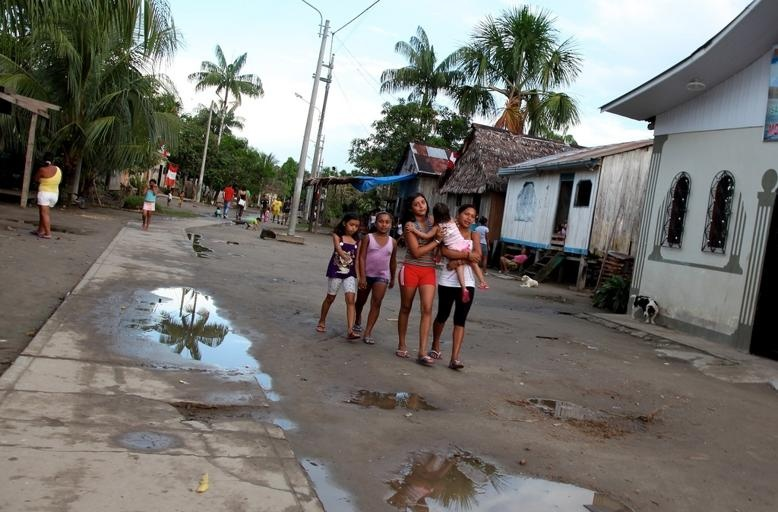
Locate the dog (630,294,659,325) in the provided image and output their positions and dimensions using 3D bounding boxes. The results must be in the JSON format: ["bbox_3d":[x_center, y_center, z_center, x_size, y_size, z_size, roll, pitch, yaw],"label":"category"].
[{"bbox_3d":[6.299,1.238,12.027,0.236,0.488,0.688,5,7,-20],"label":"dog"}]

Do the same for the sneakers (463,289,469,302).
[{"bbox_3d":[1.086,0.539,6.903,0.084,0.178,0.083,1,40,-5],"label":"sneakers"}]

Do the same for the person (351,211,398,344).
[{"bbox_3d":[-0.226,0.277,7.802,0.615,2.054,1.194,7,7,-1],"label":"person"}]

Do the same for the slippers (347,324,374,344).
[{"bbox_3d":[-0.496,1.199,7.594,0.175,0.211,0.530,1,-7,-28],"label":"slippers"}]

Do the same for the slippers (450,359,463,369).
[{"bbox_3d":[0.958,1.478,6.821,0.213,0.118,0.171,8,6,0],"label":"slippers"}]

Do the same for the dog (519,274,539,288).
[{"bbox_3d":[5.168,0.878,17.779,0.372,0.445,0.957,-1,-7,35],"label":"dog"}]

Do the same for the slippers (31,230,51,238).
[{"bbox_3d":[-9.014,-0.601,12.602,0.351,0.106,0.129,15,-2,-17],"label":"slippers"}]
